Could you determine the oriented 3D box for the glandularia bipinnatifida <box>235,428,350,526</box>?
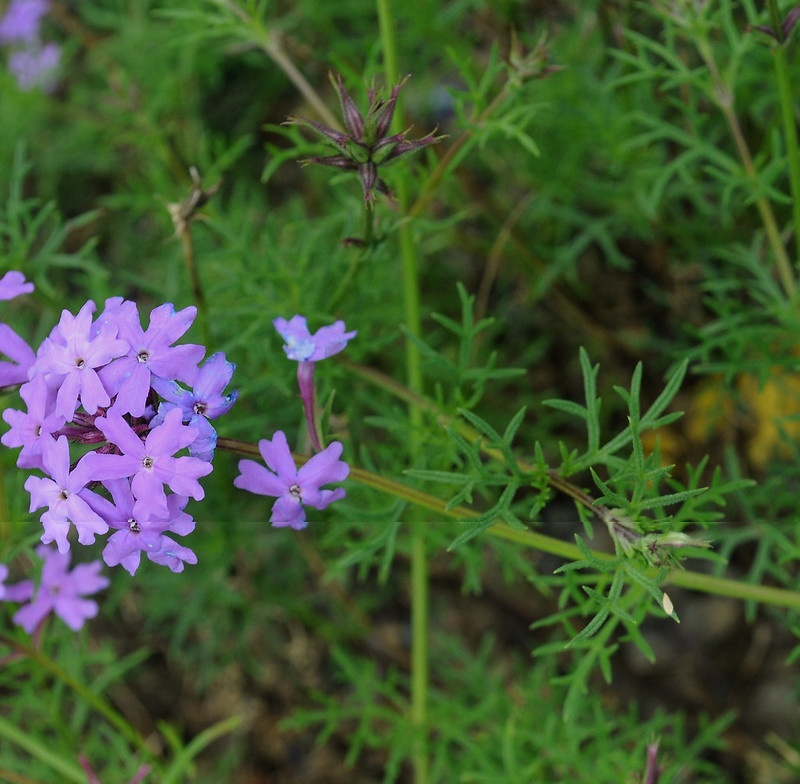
[{"bbox_3d":[-0.245,0.205,2.170,0.194,0.225,0.080,13,96,-16],"label":"glandularia bipinnatifida"}]

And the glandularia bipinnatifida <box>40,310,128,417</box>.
[{"bbox_3d":[-0.701,-0.054,2.245,0.235,0.059,0.249,7,85,37],"label":"glandularia bipinnatifida"}]

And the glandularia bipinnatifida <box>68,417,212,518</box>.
[{"bbox_3d":[-0.559,0.152,2.115,0.233,0.075,0.252,-18,90,10],"label":"glandularia bipinnatifida"}]
